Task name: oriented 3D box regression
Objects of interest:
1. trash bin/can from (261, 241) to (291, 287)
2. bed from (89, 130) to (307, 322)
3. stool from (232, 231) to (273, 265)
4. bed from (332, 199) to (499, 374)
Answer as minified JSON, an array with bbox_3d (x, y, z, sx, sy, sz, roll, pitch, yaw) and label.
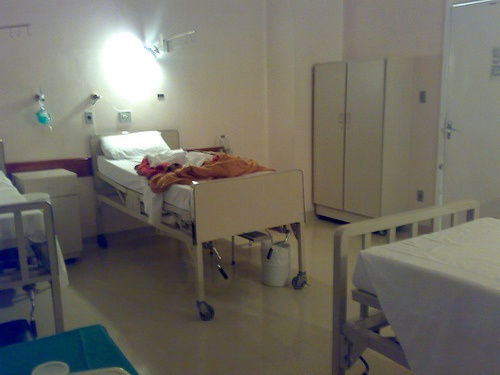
[{"bbox_3d":[0.177,0.543,3.024,0.274,0.327,0.295,-1,7,-3],"label":"trash bin/can"},{"bbox_3d":[-0.555,0.033,3.509,1.063,1.143,2.034,-10,16,-36],"label":"bed"},{"bbox_3d":[0.013,0.493,3.260,0.310,0.214,0.194,-9,10,-43],"label":"stool"},{"bbox_3d":[0.675,0.451,1.925,0.471,0.684,0.754,8,17,30],"label":"bed"}]
